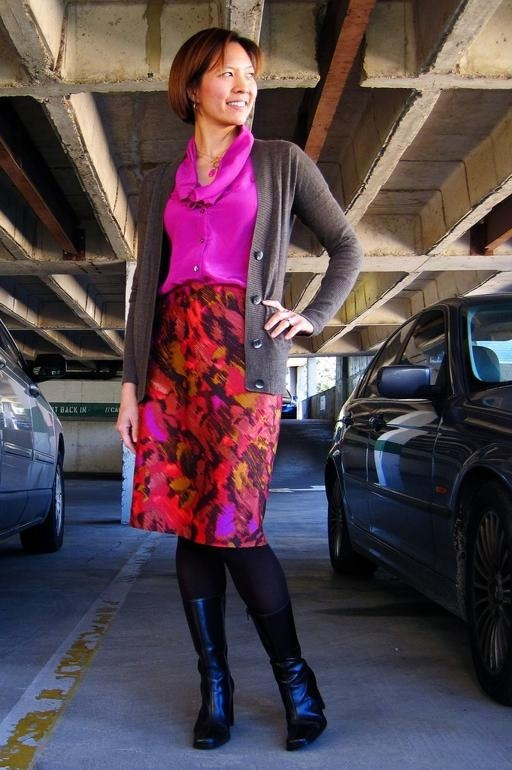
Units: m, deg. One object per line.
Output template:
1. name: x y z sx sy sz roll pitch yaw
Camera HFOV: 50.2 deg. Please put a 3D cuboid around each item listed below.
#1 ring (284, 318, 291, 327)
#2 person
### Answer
1. ring: 0.056 -0.117 1.020 0.011 0.018 0.005 11 -15 13
2. person: -0.041 0.015 1.154 0.514 1.458 0.393 2 -12 -7
